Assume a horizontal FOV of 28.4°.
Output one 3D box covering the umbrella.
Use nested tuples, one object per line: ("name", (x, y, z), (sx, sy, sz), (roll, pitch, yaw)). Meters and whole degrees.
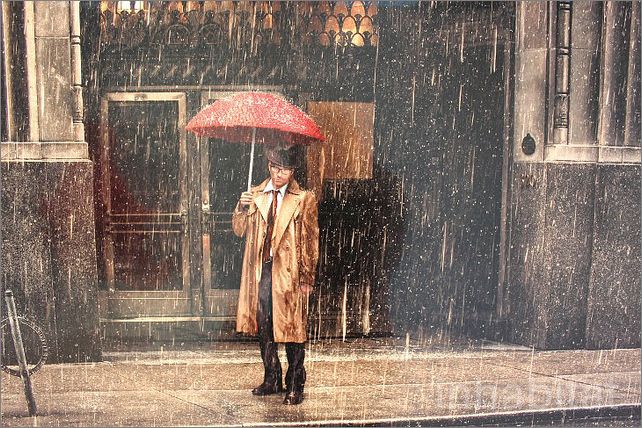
("umbrella", (-0.935, -0.937, 17.453), (1.616, 1.366, 1.646), (0, -6, 31))
